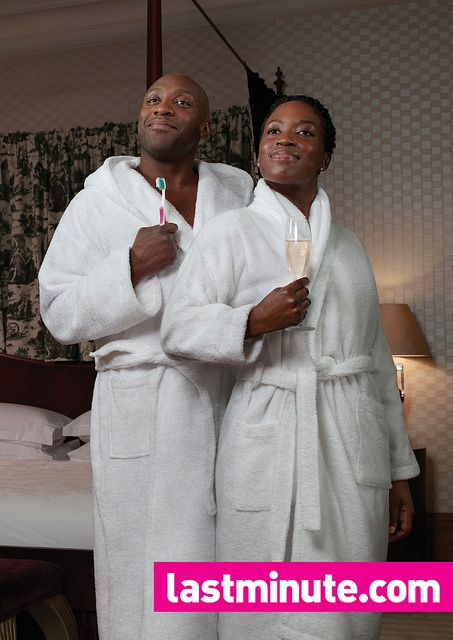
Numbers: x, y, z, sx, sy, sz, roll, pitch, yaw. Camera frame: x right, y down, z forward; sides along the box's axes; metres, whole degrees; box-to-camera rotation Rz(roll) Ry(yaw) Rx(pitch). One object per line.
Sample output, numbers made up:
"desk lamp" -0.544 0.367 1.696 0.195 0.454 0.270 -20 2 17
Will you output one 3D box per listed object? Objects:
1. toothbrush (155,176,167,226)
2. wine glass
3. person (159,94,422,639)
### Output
"toothbrush" -0.141 -0.252 1.348 0.025 0.160 0.019 0 2 4
"wine glass" 0.117 -0.109 1.032 0.043 0.115 0.139 5 18 7
"person" 0.131 0.075 1.135 0.452 0.927 0.552 10 20 21
